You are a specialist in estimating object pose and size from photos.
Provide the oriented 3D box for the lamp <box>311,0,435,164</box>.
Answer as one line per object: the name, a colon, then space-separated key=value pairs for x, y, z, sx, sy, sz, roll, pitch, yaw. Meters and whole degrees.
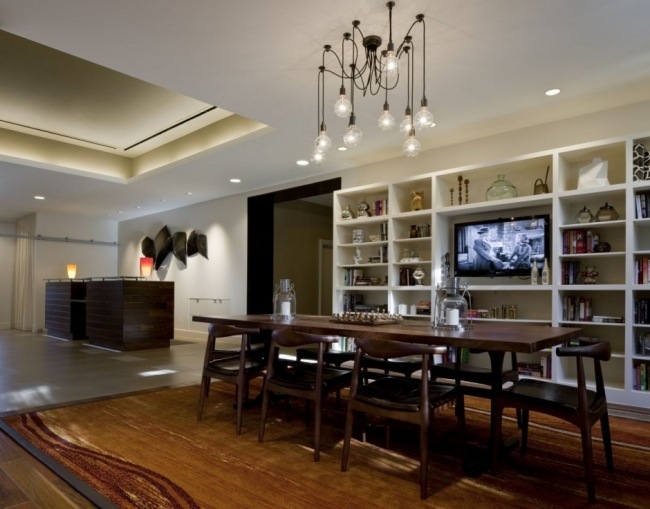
lamp: x=0.474 y=-1.358 z=4.065 sx=1.033 sy=1.062 sz=1.133 roll=7 pitch=-10 yaw=-33

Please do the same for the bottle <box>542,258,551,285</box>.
bottle: x=2.278 y=0.172 z=4.949 sx=0.083 sy=0.261 sz=0.283 roll=1 pitch=2 yaw=23

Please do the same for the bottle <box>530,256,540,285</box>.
bottle: x=2.188 y=0.172 z=4.997 sx=0.082 sy=0.269 sz=0.232 roll=1 pitch=2 yaw=24

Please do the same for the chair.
chair: x=0.814 y=0.987 z=3.446 sx=2.197 sy=0.975 sz=1.183 roll=1 pitch=2 yaw=29

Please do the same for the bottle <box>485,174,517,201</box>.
bottle: x=1.936 y=-0.717 z=5.313 sx=0.301 sy=0.299 sz=0.309 roll=0 pitch=0 yaw=44
